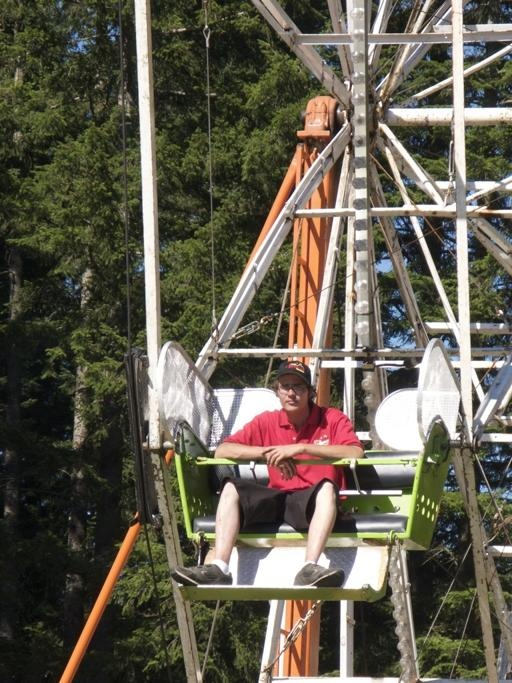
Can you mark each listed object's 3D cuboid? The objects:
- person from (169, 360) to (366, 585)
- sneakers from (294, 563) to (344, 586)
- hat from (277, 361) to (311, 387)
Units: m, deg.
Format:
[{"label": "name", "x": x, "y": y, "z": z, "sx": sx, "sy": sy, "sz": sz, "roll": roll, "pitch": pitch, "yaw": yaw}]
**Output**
[{"label": "person", "x": 0.124, "y": 0.659, "z": 6.055, "sx": 0.816, "sy": 1.340, "sz": 1.105, "roll": 0, "pitch": -18, "yaw": 9}, {"label": "sneakers", "x": 0.290, "y": 1.085, "z": 5.492, "sx": 0.244, "sy": 0.101, "sz": 0.093, "roll": -11, "pitch": -21, "yaw": 31}, {"label": "hat", "x": 0.232, "y": 0.157, "z": 6.388, "sx": 0.175, "sy": 0.132, "sz": 0.291, "roll": 3, "pitch": -11, "yaw": 9}]
